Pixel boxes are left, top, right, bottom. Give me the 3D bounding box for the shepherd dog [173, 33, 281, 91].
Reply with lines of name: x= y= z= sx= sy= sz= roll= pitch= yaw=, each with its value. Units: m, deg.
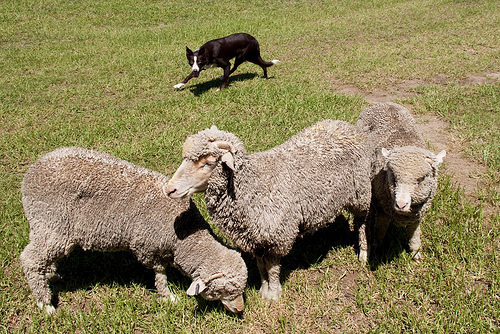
shepherd dog: x=-0.664 y=-2.910 z=14.987 sx=2.427 sy=1.234 sz=1.224 roll=-14 pitch=39 yaw=-11
